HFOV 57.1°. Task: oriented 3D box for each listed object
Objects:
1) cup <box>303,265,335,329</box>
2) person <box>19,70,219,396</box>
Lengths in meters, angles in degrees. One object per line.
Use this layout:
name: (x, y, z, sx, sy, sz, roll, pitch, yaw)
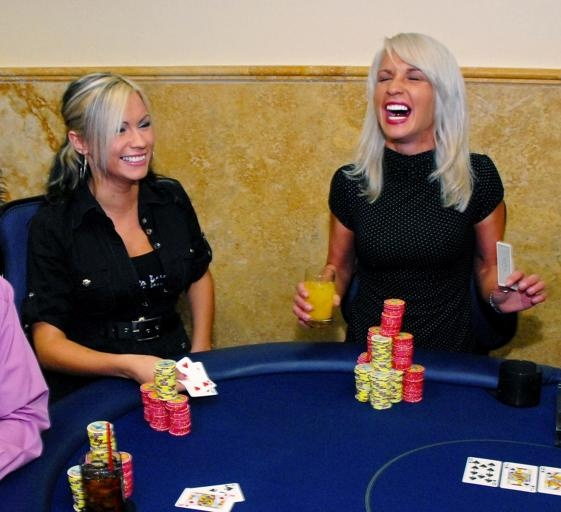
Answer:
cup: (0.136, 0.140, 1.736, 0.114, 0.171, 0.119, 0, 8, 0)
person: (-0.533, -0.024, 1.906, 0.705, 1.197, 0.644, -4, 18, -29)
